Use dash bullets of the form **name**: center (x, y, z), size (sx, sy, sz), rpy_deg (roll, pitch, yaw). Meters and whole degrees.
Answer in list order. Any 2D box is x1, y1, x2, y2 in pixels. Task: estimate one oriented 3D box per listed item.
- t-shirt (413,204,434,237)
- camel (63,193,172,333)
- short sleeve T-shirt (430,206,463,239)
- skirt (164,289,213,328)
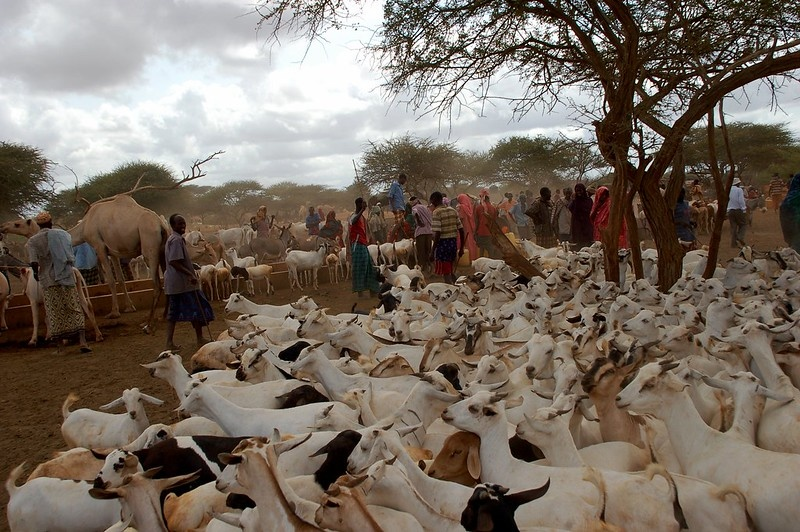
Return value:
- **t-shirt**: center (0.654, -1.351, 14.372), size (0.463, 0.936, 0.778), rpy_deg (-8, -6, 35)
- **camel**: center (-7.890, -0.147, 13.842), size (4.245, 3.311, 1.018), rpy_deg (-1, 8, 23)
- **short sleeve T-shirt**: center (1.331, -1.157, 12.930), size (0.854, 0.800, 0.430), rpy_deg (6, 18, 40)
- **skirt**: center (-4.241, 0.835, 10.290), size (1.090, 1.023, 0.663), rpy_deg (-4, -6, -33)
